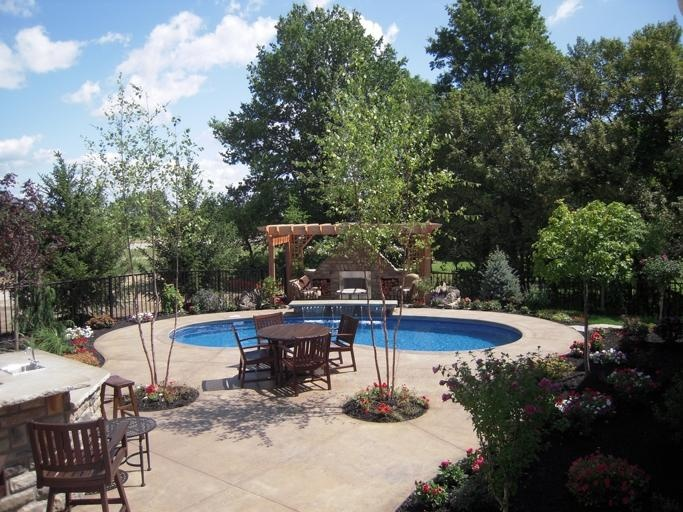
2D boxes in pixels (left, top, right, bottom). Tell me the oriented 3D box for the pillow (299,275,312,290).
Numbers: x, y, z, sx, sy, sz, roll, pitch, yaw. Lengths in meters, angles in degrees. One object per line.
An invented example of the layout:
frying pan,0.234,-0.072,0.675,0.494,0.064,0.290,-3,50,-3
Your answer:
pillow,-1.704,1.222,23.495,0.140,0.525,0.522,-27,5,32

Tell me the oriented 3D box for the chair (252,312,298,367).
chair,-1.861,1.980,12.613,0.924,1.554,1.029,-2,1,-28

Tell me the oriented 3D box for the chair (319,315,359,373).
chair,-0.043,2.144,12.831,1.059,1.672,1.190,0,-1,-17

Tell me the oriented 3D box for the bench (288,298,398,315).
bench,-0.058,2.165,21.536,4.348,0.714,2.300,-3,-3,10

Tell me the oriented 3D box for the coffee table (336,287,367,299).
coffee table,0.443,1.737,23.091,1.247,0.511,0.944,-3,-3,8
